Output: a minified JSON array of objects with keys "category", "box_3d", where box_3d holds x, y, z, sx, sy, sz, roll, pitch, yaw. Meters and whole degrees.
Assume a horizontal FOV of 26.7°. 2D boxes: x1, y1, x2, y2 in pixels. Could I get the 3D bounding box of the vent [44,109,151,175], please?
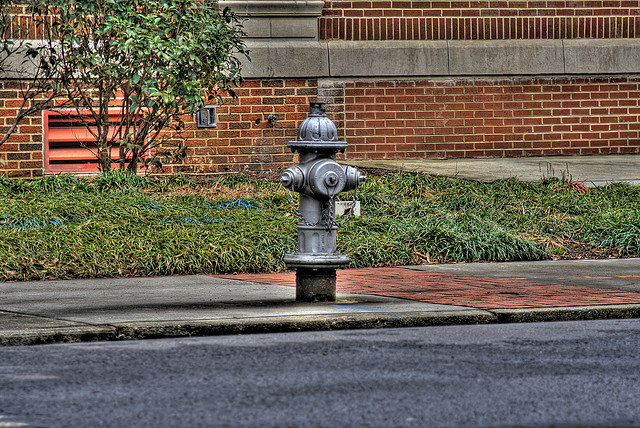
[{"category":"vent","box_3d":[-4.467,-1.460,26.728,2.155,1.164,0.251,0,0,7]}]
